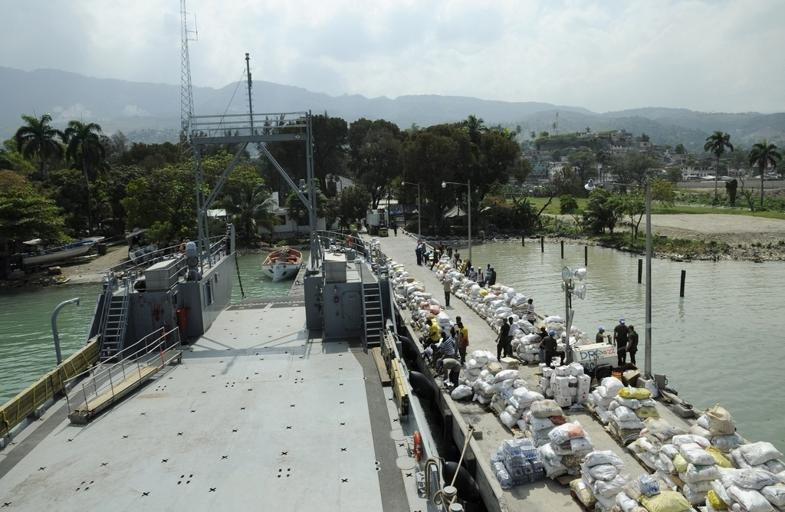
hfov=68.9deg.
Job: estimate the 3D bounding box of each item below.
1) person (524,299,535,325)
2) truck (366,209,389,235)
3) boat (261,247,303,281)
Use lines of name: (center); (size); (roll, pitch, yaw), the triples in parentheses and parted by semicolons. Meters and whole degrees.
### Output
person: (6.756, 2.877, 27.980); (0.507, 1.232, 1.377); (1, 12, 15)
truck: (-1.634, -3.655, 64.612); (1.553, 2.051, 5.381); (-2, 5, -7)
boat: (-9.384, 0.616, 50.147); (2.378, 1.647, 6.611); (-5, 19, 0)
